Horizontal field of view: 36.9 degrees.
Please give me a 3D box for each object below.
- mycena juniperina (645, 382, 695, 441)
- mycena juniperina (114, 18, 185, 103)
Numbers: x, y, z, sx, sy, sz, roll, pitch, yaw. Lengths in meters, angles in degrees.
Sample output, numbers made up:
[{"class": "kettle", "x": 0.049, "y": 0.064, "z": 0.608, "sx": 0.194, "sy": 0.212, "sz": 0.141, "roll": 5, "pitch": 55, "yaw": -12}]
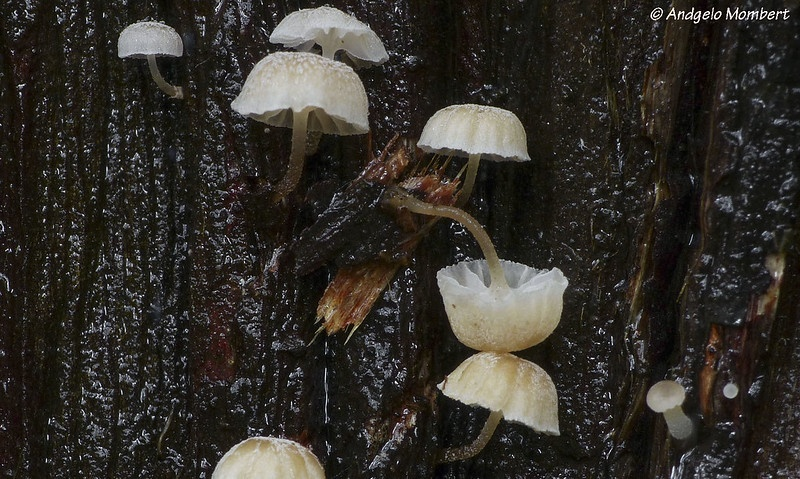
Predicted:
[{"class": "mycena juniperina", "x": 2.314, "y": 1.450, "z": 10.222, "sx": 0.250, "sy": 0.454, "sz": 0.271, "roll": -30, "pitch": 13, "yaw": -16}, {"class": "mycena juniperina", "x": -2.162, "y": -1.553, "z": 10.398, "sx": 0.555, "sy": 0.662, "sz": 0.326, "roll": -2, "pitch": 11, "yaw": -18}]
